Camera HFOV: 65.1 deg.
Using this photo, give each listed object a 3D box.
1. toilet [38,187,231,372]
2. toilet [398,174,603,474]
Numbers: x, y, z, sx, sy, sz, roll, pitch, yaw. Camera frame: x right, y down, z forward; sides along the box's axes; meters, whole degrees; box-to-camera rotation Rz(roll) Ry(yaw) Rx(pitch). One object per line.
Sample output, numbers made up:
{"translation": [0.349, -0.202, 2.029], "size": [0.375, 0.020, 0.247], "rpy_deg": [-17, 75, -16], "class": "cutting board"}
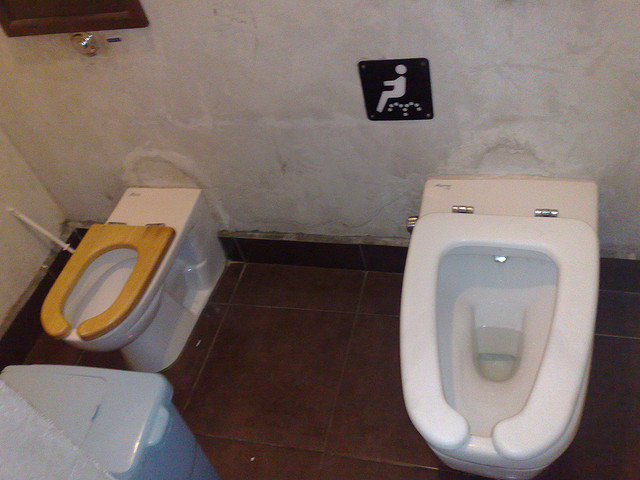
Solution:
{"translation": [-0.646, 0.163, 1.830], "size": [0.362, 0.448, 0.614], "rpy_deg": [7, 51, 13], "class": "toilet"}
{"translation": [0.463, 0.188, 1.509], "size": [0.617, 0.637, 0.863], "rpy_deg": [5, 66, 21], "class": "toilet"}
